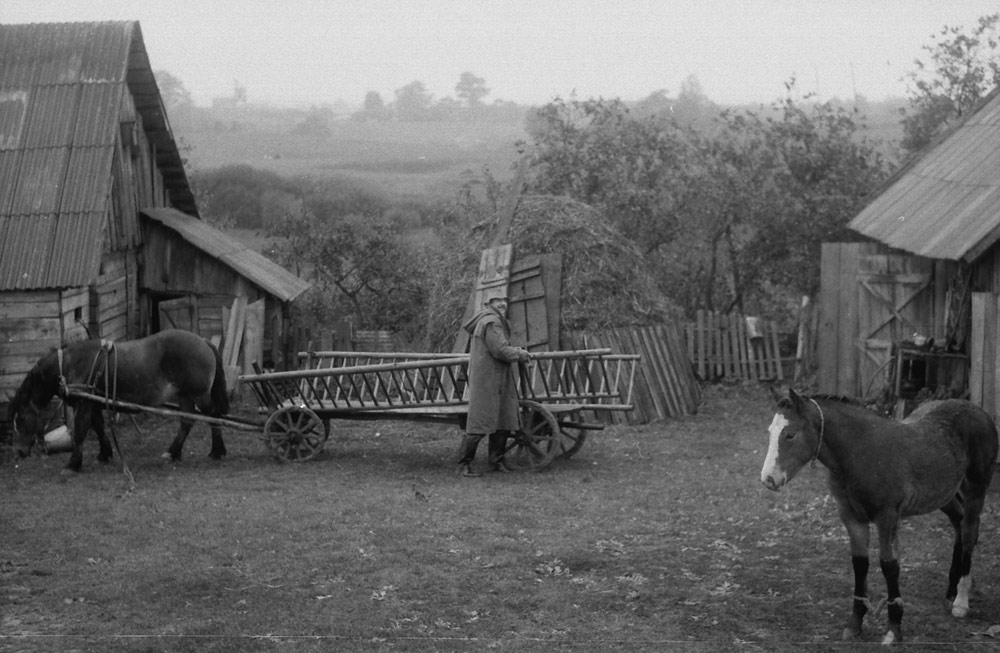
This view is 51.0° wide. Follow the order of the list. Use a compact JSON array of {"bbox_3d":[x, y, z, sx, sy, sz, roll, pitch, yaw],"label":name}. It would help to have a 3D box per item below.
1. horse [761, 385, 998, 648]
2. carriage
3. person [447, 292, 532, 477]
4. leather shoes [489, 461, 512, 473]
[{"bbox_3d":[4.466,2.010,12.030,3.049,2.727,1.159,-4,13,-19],"label":"horse"},{"bbox_3d":[-3.094,1.453,18.614,8.810,1.958,2.182,3,-2,3],"label":"carriage"},{"bbox_3d":[-0.143,1.017,17.065,1.031,2.869,0.737,0,12,0],"label":"person"},{"bbox_3d":[-0.008,2.333,17.309,0.413,0.268,0.145,2,3,-2],"label":"leather shoes"}]
